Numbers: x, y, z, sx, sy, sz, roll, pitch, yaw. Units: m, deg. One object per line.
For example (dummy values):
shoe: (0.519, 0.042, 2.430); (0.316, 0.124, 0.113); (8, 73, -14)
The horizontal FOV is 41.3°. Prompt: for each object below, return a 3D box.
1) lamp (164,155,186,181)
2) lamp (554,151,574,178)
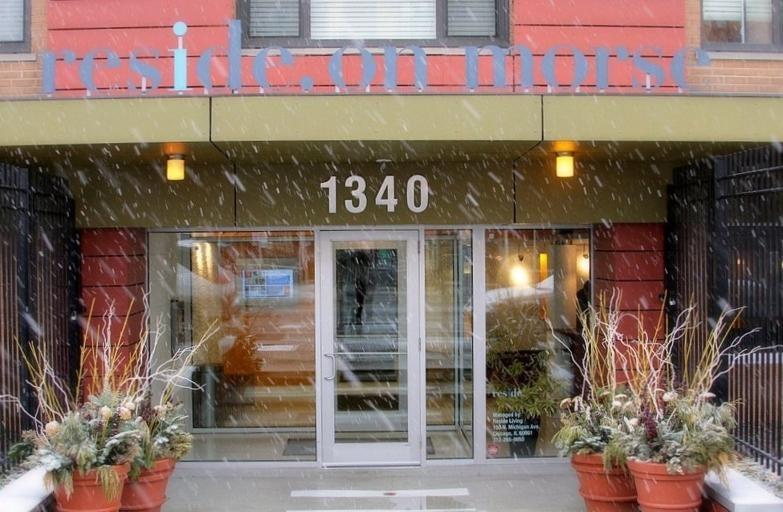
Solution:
lamp: (-2.859, -1.141, 13.566); (0.261, 0.373, 0.296); (2, -2, 1)
lamp: (2.283, -1.198, 13.696); (0.240, 0.337, 0.271); (0, 1, 11)
